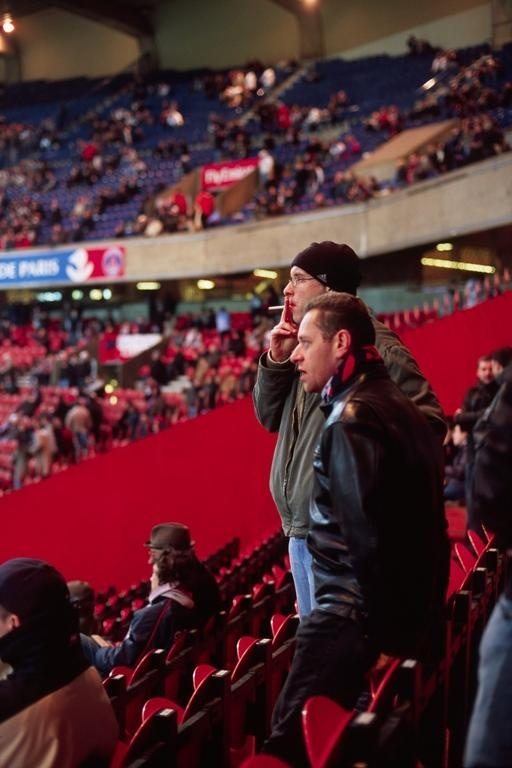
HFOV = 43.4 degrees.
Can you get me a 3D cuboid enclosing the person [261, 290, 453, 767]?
[{"bbox_3d":[0.181,0.204,1.160,0.308,0.749,0.440,-5,5,17],"label":"person"}]
